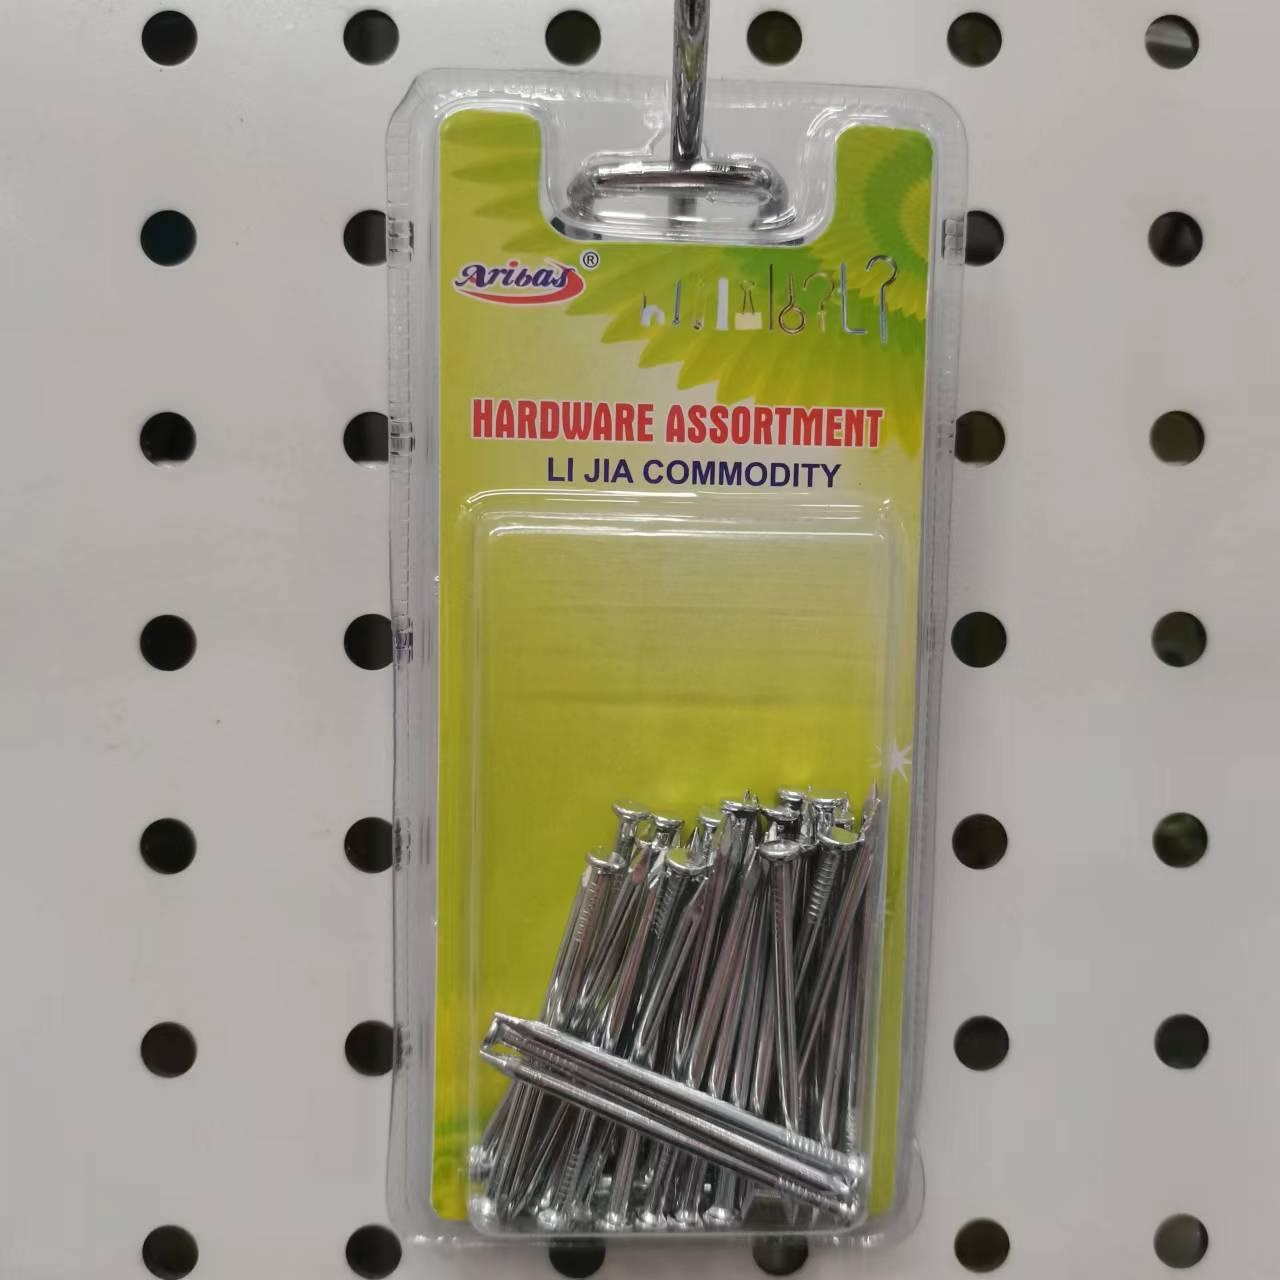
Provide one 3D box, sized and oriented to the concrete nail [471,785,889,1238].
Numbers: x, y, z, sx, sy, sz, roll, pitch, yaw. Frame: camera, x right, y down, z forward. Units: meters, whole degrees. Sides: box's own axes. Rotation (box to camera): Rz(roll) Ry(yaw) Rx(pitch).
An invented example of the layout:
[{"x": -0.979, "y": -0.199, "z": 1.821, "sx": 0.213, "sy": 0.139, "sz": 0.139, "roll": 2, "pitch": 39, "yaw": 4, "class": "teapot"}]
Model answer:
[{"x": 0.018, "y": 0.149, "z": 0.715, "sx": 0.157, "sy": 0.074, "sz": 0.195, "roll": 10, "pitch": -74, "yaw": -3, "class": "concrete nail"}]
